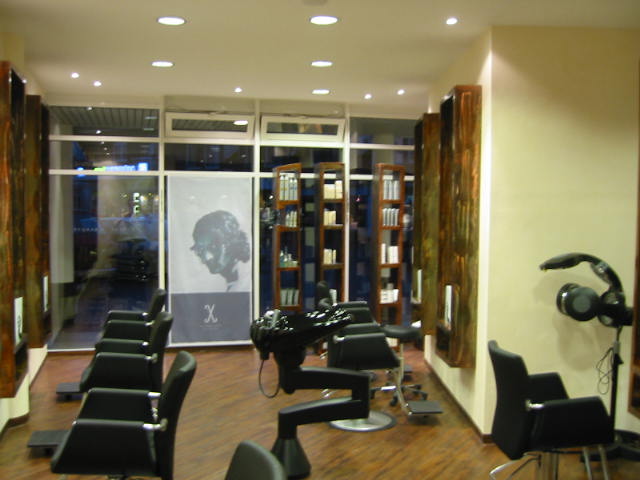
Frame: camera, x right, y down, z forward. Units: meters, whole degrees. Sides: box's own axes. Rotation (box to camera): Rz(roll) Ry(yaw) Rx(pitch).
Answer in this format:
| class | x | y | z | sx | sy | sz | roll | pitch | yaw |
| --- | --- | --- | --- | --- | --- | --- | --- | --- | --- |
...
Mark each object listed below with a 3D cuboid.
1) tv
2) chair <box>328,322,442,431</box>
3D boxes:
| class | x | y | z | sx | sy | sz | roll | pitch | yaw |
| --- | --- | --- | --- | --- | --- | --- | --- | --- | --- |
| tv | -3.269 | -0.714 | 8.148 | 1.022 | 0.927 | 0.068 | 1 | 2 | -9 |
| chair | 0.672 | 1.486 | 6.073 | 1.381 | 1.024 | 0.916 | -1 | 0 | 6 |
